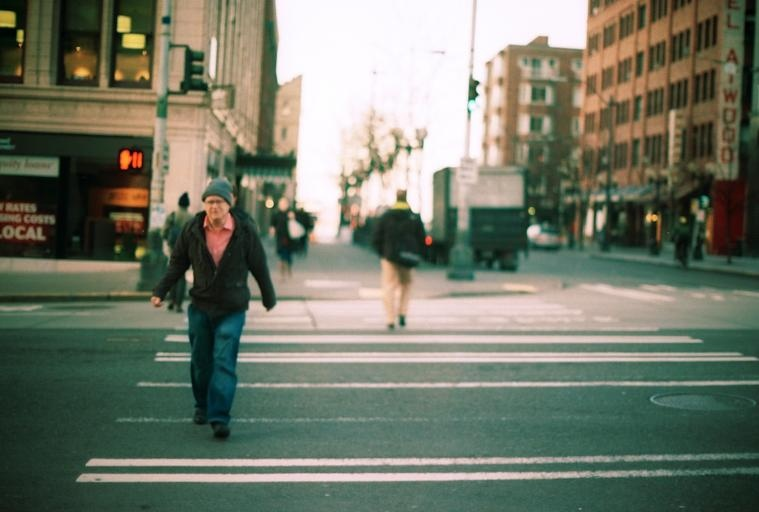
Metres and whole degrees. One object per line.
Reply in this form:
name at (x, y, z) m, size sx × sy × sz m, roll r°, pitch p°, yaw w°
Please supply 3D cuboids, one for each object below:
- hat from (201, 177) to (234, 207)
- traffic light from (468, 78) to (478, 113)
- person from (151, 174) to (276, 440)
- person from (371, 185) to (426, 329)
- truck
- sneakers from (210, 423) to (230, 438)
hat at (-2.152, -0.870, 12.703) m, size 0.296 × 0.348 × 0.412 m, roll 9°, pitch -19°, yaw -4°
traffic light at (2.662, -4.708, 27.577) m, size 0.277 × 0.950 × 0.713 m, roll 2°, pitch 12°, yaw 4°
person at (-2.209, 0.601, 12.808) m, size 1.152 × 3.251 × 1.130 m, roll 9°, pitch 15°, yaw 35°
person at (0.331, 0.114, 17.808) m, size 0.954 × 2.644 × 0.665 m, roll 1°, pitch 12°, yaw 2°
truck at (4.060, -1.742, 37.430) m, size 2.963 × 3.968 × 6.048 m, roll 0°, pitch 6°, yaw 5°
sneakers at (-2.086, 2.280, 12.441) m, size 0.227 × 0.186 × 0.178 m, roll -2°, pitch 13°, yaw -14°
